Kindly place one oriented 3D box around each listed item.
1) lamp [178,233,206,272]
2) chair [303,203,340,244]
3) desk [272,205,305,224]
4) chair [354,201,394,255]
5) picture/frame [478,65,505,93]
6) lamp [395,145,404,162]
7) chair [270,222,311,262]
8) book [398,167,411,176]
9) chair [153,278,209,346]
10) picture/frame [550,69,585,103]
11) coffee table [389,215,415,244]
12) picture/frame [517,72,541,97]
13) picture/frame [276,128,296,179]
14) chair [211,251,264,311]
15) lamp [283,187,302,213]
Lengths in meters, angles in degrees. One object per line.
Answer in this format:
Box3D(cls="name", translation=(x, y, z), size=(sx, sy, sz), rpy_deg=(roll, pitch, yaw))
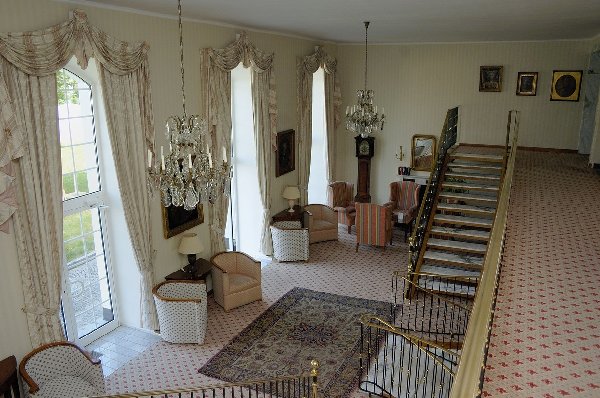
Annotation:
Box3D(cls="lamp", translation=(-2.480, 1.234, 9.489), size=(0.505, 0.874, 0.562), rpy_deg=(-8, 15, -25))
Box3D(cls="chair", translation=(0.687, 0.764, 13.523), size=(1.116, 1.283, 1.137), rpy_deg=(-4, 8, -22))
Box3D(cls="desk", translation=(-0.323, 0.611, 12.673), size=(0.957, 0.534, 1.333), rpy_deg=(-1, 13, 2))
Box3D(cls="chair", translation=(2.285, 0.774, 12.651), size=(1.301, 1.723, 1.263), rpy_deg=(3, 15, 19))
Box3D(cls="picture/frame", translation=(6.153, -3.856, 13.432), size=(0.830, 1.050, 0.073), rpy_deg=(5, 13, 27))
Box3D(cls="lamp", translation=(3.512, -1.580, 14.752), size=(0.313, 0.554, 0.086), rpy_deg=(8, 17, 34))
Box3D(cls="chair", translation=(-0.279, 1.256, 12.178), size=(1.060, 1.011, 1.130), rpy_deg=(-3, 14, -9))
Box3D(cls="book", translation=(3.595, -0.938, 14.482), size=(0.254, 0.458, 0.468), rpy_deg=(16, 14, 37))
Box3D(cls="chair", translation=(-2.393, 2.422, 8.928), size=(1.233, 1.140, 1.149), rpy_deg=(0, 21, -12))
Box3D(cls="picture/frame", translation=(8.181, -3.463, 12.766), size=(0.891, 1.085, 0.113), rpy_deg=(13, 22, 26))
Box3D(cls="coffee table", translation=(3.356, 0.930, 13.725), size=(0.859, 0.871, 0.870), rpy_deg=(7, 17, 27))
Box3D(cls="picture/frame", translation=(7.175, -3.611, 13.108), size=(0.710, 0.977, 0.067), rpy_deg=(5, 12, 28))
Box3D(cls="picture/frame", translation=(-0.449, -1.400, 12.689), size=(0.147, 1.457, 1.344), rpy_deg=(6, 12, 22))
Box3D(cls="chair", translation=(-1.565, 1.921, 10.225), size=(1.224, 1.284, 1.222), rpy_deg=(-10, 14, -43))
Box3D(cls="lamp", translation=(-0.251, 0.035, 12.778), size=(0.701, 0.920, 0.716), rpy_deg=(-2, 14, -2))
